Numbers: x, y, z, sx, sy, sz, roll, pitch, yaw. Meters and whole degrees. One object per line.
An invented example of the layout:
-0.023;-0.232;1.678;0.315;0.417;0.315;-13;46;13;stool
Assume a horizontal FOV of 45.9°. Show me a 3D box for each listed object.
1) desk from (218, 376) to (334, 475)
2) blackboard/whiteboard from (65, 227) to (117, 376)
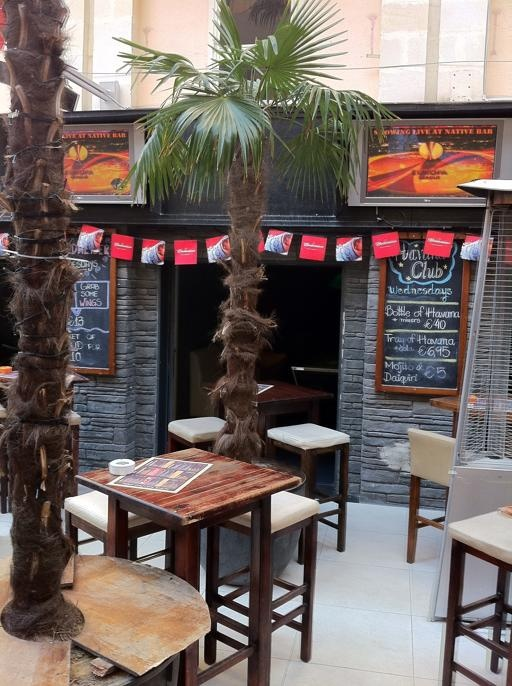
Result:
0.138;0.521;4.533;0.686;0.612;0.671;-17;29;-33;desk
-1.525;-0.379;5.521;0.460;1.348;0.245;1;3;23;blackboard/whiteboard
